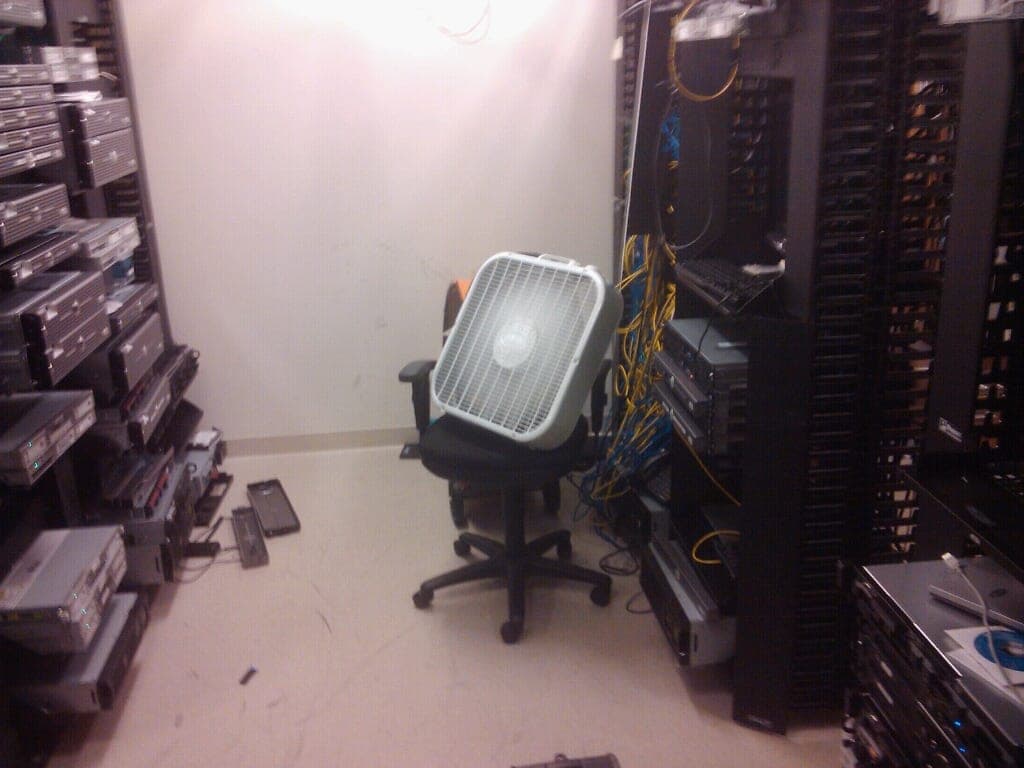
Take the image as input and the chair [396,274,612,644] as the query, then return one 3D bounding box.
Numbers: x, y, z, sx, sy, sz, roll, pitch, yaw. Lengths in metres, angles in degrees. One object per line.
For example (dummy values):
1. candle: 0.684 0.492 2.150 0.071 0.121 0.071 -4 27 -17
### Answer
1. chair: -0.026 0.220 3.107 0.813 1.317 0.779 -1 13 4
